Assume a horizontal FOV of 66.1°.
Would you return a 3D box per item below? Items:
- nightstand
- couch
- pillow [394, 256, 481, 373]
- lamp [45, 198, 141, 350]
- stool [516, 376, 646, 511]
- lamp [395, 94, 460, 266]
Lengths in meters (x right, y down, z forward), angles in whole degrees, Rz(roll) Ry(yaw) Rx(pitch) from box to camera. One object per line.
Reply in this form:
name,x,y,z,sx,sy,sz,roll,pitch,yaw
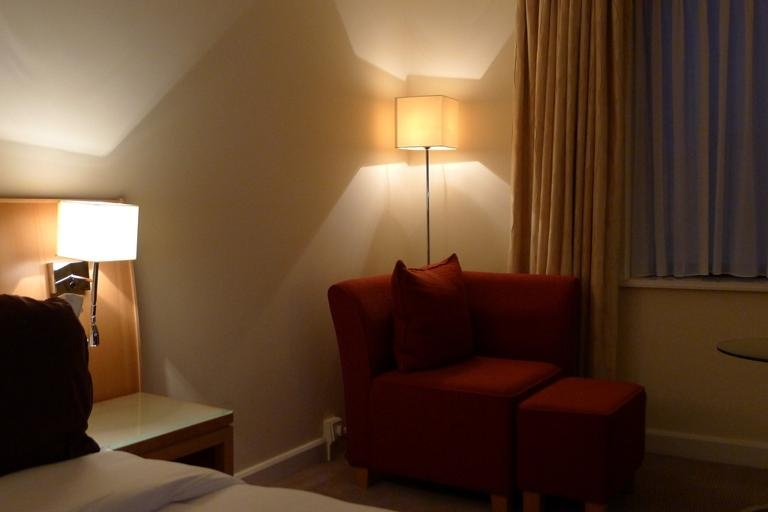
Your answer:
nightstand,-0.908,0.618,2.347,0.380,0.257,0.382,1,3,32
couch,0.438,0.599,3.485,1.153,1.274,1.185,-3,-2,31
pillow,0.294,0.343,3.255,0.531,0.556,0.199,-6,-3,-45
lamp,-1.188,0.088,2.419,0.266,0.590,0.264,5,10,-5
stool,0.968,0.758,2.837,0.493,0.606,0.685,-1,-2,29
lamp,0.295,-0.516,4.121,0.429,1.145,0.356,0,4,20
